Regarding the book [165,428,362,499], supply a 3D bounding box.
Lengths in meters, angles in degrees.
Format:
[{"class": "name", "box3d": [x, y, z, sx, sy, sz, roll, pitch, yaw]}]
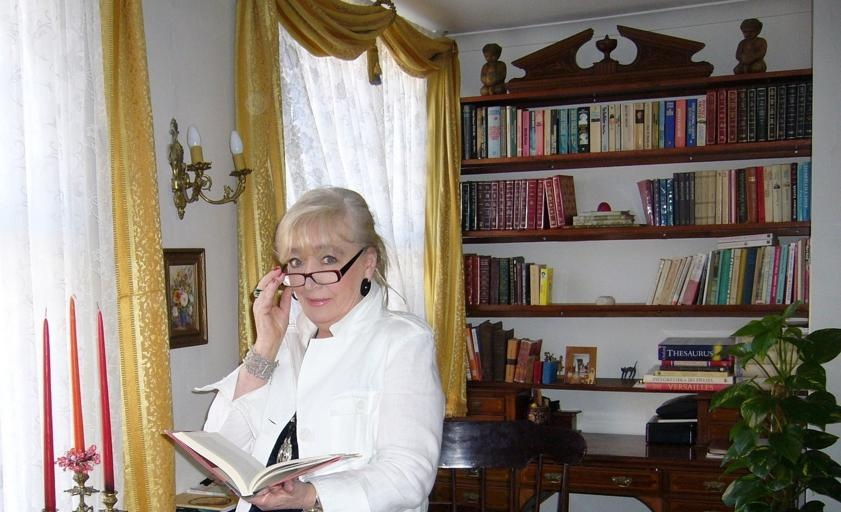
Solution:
[{"class": "book", "box3d": [-0.515, 0.643, 2.257, 0.601, 0.177, 0.222, 1, 3, 28]}]

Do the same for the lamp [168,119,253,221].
[{"class": "lamp", "box3d": [-0.976, -0.412, 3.328, 0.331, 0.415, 0.359, -10, 8, -29]}]

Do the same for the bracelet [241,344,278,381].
[{"class": "bracelet", "box3d": [-0.585, 0.397, 2.651, 0.100, 0.085, 0.126, 28, 2, -10]}]

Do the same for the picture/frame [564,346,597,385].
[{"class": "picture/frame", "box3d": [1.038, 0.719, 4.684, 0.248, 0.280, 0.028, 0, -35, 15]}]

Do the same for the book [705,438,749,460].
[{"class": "book", "box3d": [1.738, 1.135, 4.215, 0.236, 0.053, 0.227, -2, 0, 4]}]

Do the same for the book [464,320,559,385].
[{"class": "book", "box3d": [0.578, 0.674, 4.709, 0.514, 0.238, 0.370, 13, 9, -11]}]

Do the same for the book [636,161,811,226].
[{"class": "book", "box3d": [1.847, -0.367, 4.351, 0.881, 0.338, 0.037, 0, 4, 17]}]
